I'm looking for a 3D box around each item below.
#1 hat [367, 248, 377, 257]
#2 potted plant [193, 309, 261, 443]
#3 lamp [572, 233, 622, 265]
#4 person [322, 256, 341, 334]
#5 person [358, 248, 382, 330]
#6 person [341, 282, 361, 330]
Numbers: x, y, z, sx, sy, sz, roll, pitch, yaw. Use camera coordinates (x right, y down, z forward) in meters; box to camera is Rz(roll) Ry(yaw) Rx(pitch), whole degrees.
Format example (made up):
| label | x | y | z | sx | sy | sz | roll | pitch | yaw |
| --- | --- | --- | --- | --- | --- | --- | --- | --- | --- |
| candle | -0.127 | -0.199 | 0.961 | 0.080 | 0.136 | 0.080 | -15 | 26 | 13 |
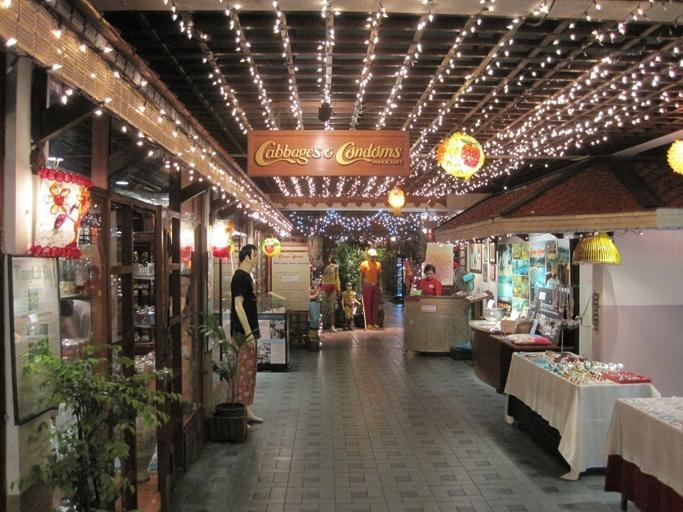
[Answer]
| label | x | y | z | sx | sy | sz | roll | pitch | yaw |
| --- | --- | --- | --- | --- | --- | --- | --- | --- | --- |
| hat | 0.878 | -0.121 | 15.145 | 0.253 | 0.126 | 0.365 | 1 | 0 | -3 |
| potted plant | -1.523 | 1.473 | 6.925 | 0.645 | 1.552 | 1.334 | 0 | 2 | -10 |
| lamp | 3.259 | -0.102 | 6.700 | 0.475 | 0.381 | 0.364 | 0 | 2 | -11 |
| person | -0.355 | 0.980 | 14.525 | 0.633 | 2.182 | 0.557 | 2 | 7 | 11 |
| person | 0.839 | 0.952 | 15.090 | 0.553 | 2.340 | 1.423 | 0 | 2 | 4 |
| person | 0.254 | 1.449 | 15.809 | 0.498 | 1.362 | 1.319 | 0 | 2 | 6 |
